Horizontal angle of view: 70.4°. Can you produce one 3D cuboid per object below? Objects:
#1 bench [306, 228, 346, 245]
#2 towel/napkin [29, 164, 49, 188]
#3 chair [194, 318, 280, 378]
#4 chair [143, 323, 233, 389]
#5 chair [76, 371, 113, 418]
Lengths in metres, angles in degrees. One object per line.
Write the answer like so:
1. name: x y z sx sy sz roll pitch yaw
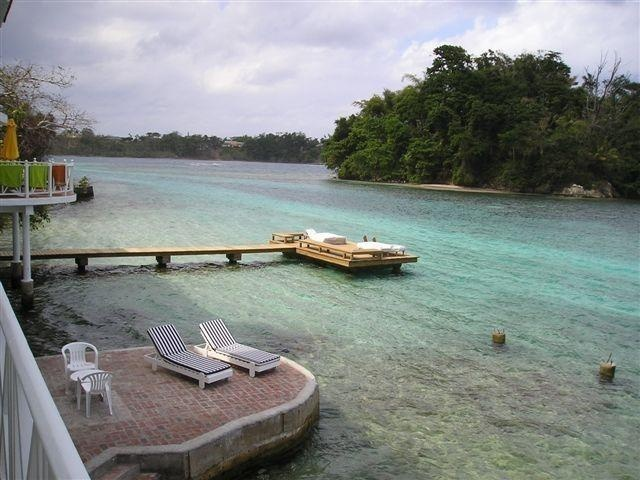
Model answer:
1. bench: 0.210 -0.134 23.180 1.324 0.425 1.876 -5 13 -41
2. towel/napkin: -8.673 -1.962 13.975 0.487 0.797 0.631 -1 14 -28
3. chair: -1.765 2.410 10.031 1.778 0.623 0.934 12 10 34
4. chair: -2.738 2.317 9.468 2.046 0.698 0.897 10 12 33
5. chair: -3.863 2.531 7.755 0.524 0.622 0.891 -4 13 -35
